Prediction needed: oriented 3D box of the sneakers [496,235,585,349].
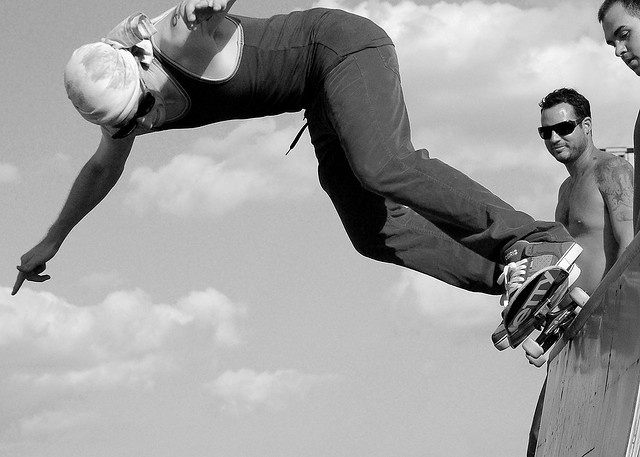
[{"bbox_3d":[1.146,0.326,6.100,0.295,0.636,0.197,28,-15,22],"label":"sneakers"}]
